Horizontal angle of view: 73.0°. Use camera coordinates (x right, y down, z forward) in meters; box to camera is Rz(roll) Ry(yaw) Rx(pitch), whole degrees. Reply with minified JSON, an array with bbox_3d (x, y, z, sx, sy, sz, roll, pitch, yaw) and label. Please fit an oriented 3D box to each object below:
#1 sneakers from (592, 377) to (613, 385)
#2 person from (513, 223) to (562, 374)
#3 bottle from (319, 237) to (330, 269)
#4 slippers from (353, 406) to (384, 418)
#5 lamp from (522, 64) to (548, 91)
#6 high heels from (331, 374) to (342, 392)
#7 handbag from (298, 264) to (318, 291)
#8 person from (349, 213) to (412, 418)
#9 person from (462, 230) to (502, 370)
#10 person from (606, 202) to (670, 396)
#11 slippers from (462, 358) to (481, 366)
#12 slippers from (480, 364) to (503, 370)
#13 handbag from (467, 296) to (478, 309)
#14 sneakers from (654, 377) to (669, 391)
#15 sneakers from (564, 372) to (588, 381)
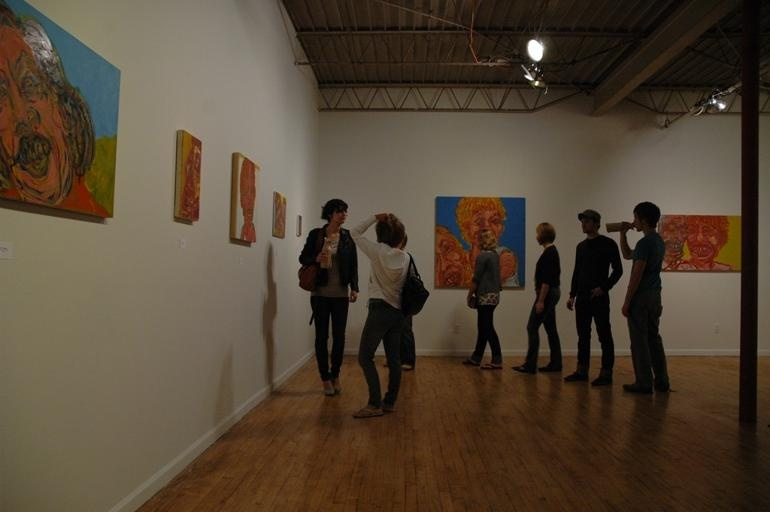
[{"bbox_3d":[2.652,1.535,6.385,0.247,0.103,0.109,2,-6,-12],"label":"sneakers"},{"bbox_3d":[2.108,0.604,7.048,0.514,2.087,0.629,3,5,35],"label":"person"},{"bbox_3d":[-0.656,-0.024,5.605,0.096,0.307,0.164,1,4,4],"label":"bottle"},{"bbox_3d":[-0.175,1.536,5.133,0.303,0.173,0.118,5,-7,-9],"label":"slippers"},{"bbox_3d":[2.119,-2.587,7.410,0.278,0.355,0.504,2,5,19],"label":"lamp"},{"bbox_3d":[-0.570,1.470,5.940,0.096,0.163,0.349,1,-19,-10],"label":"high heels"},{"bbox_3d":[-0.841,0.235,5.640,0.260,0.295,0.150,1,4,6],"label":"handbag"},{"bbox_3d":[-0.039,0.580,5.147,0.547,1.997,0.445,0,4,3],"label":"person"},{"bbox_3d":[1.432,0.635,7.481,0.496,2.011,0.467,1,4,10],"label":"person"},{"bbox_3d":[3.028,0.494,6.070,0.599,2.243,0.655,3,5,31],"label":"person"},{"bbox_3d":[1.274,1.561,7.746,0.095,0.143,0.286,3,3,-37],"label":"slippers"},{"bbox_3d":[1.522,1.587,7.421,0.267,0.079,0.115,2,-5,5],"label":"slippers"},{"bbox_3d":[1.245,0.665,7.399,0.140,0.206,0.136,11,-13,-33],"label":"handbag"},{"bbox_3d":[3.216,1.494,6.063,0.128,0.162,0.144,1,-8,-6],"label":"sneakers"},{"bbox_3d":[2.411,1.538,6.597,0.303,0.139,0.125,1,-3,-1],"label":"sneakers"}]
